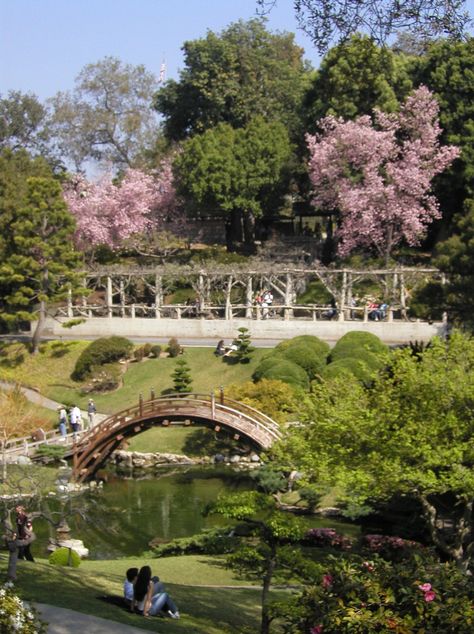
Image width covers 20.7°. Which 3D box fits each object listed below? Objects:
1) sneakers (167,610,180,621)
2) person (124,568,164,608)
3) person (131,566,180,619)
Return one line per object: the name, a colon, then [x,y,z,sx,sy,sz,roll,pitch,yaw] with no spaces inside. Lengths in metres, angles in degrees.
sneakers: [-1.508,7.147,31.237,0.351,0.148,0.121,36,16,29]
person: [-2.339,6.421,31.744,0.994,0.918,0.648,-6,5,-3]
person: [-1.988,6.632,31.385,1.140,1.493,0.565,-11,12,-31]
